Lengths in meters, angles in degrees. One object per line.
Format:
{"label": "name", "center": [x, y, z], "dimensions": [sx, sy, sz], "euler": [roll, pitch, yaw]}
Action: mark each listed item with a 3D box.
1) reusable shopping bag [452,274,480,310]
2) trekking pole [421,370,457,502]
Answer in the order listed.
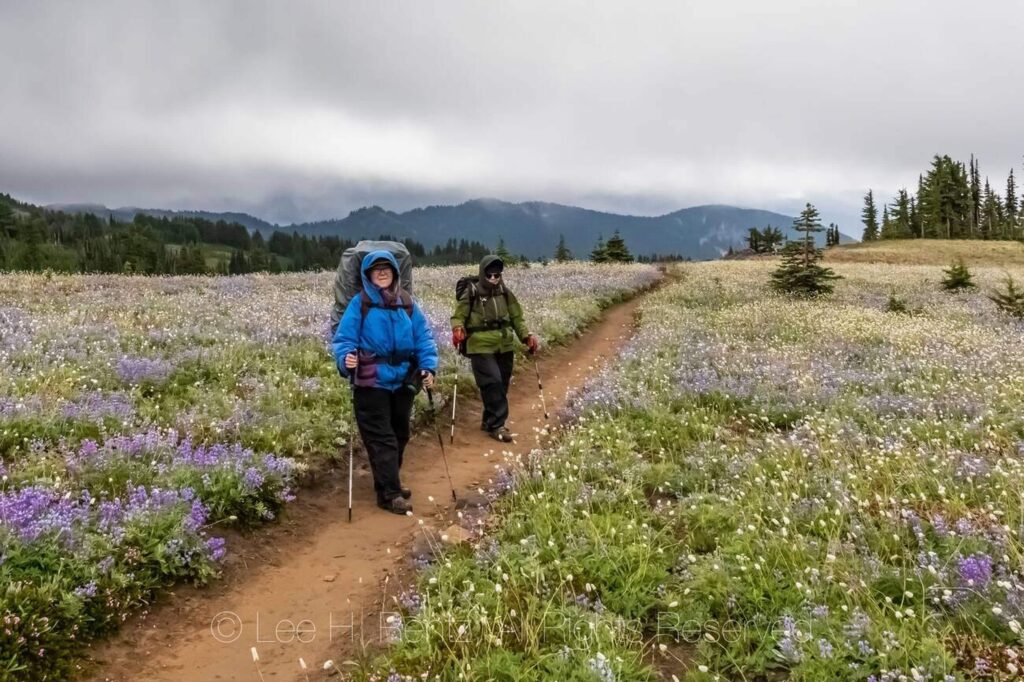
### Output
{"label": "reusable shopping bag", "center": [-1.035, -1.253, 15.078], "dimensions": [0.449, 0.656, 0.585], "euler": [-16, 4, -39]}
{"label": "trekking pole", "center": [-1.545, 2.028, 13.383], "dimensions": [0.276, 2.322, 0.286], "euler": [-14, -11, 8]}
